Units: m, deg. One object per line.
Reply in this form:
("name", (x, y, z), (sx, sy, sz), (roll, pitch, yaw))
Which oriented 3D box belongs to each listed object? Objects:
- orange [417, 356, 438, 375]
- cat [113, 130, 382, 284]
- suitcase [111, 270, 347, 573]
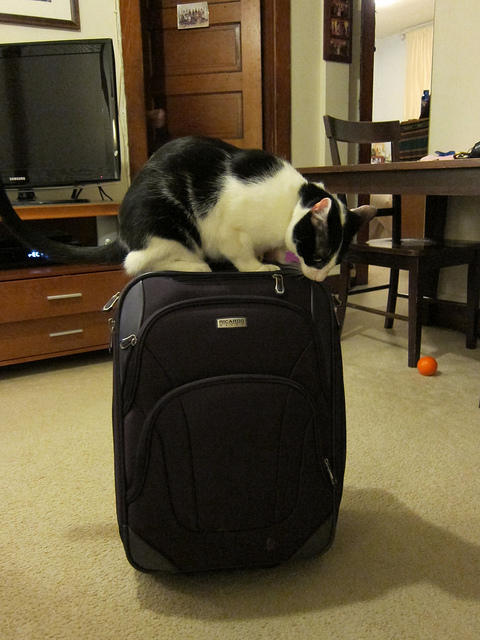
("orange", (0.607, 0.144, 1.710), (0.053, 0.056, 0.053), (-2, 11, 3))
("cat", (0.013, -0.161, 0.817), (0.352, 0.199, 0.202), (10, 16, 6))
("suitcase", (-0.009, 0.128, 0.826), (0.335, 0.472, 0.241), (-2, 10, -4))
